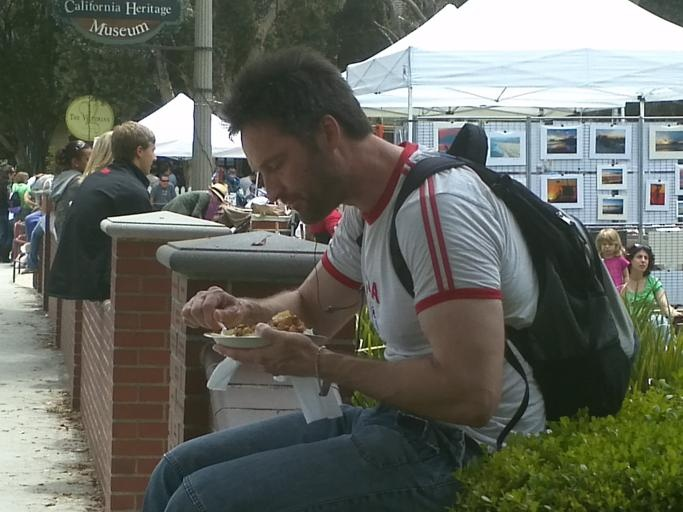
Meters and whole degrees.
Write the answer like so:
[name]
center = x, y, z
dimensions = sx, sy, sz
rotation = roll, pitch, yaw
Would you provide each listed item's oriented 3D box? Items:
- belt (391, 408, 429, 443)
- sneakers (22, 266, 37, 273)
[belt]
center = 0.340, 0.840, 5.151
dimensions = 0.151, 0.062, 0.105
rotation = 29, -19, 42
[sneakers]
center = -5.063, 0.220, 16.756
dimensions = 0.099, 0.121, 0.289
rotation = 2, 1, -44
